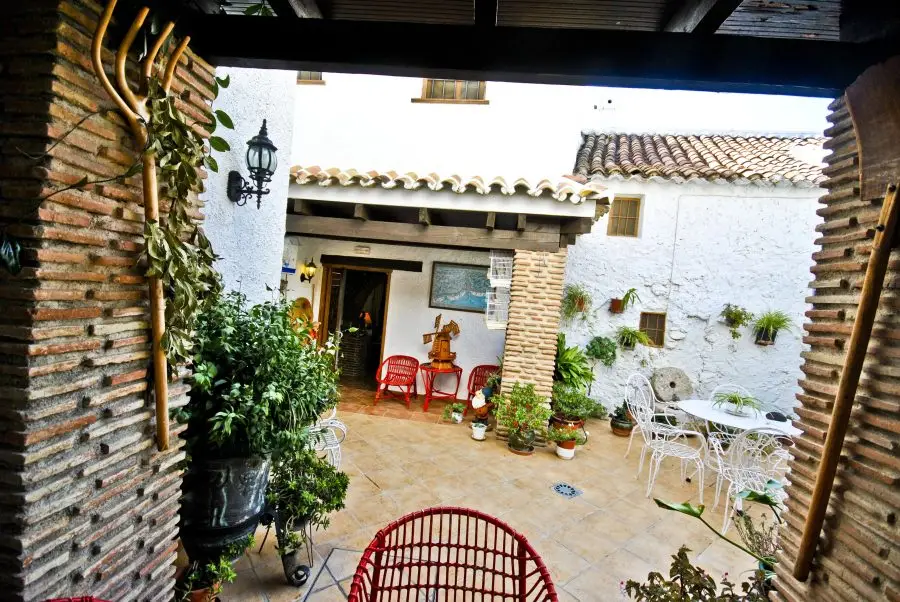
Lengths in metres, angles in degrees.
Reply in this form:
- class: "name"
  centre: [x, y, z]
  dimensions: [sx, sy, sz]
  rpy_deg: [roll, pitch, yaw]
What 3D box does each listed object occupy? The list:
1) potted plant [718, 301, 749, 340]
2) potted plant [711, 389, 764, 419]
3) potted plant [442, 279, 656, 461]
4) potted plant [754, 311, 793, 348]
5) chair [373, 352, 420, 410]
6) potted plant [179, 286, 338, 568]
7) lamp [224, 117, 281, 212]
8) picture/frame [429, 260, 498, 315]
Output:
- class: "potted plant"
  centre: [3.811, 0.255, 7.874]
  dimensions: [0.412, 0.425, 0.310]
  rpy_deg: [-5, -11, -6]
- class: "potted plant"
  centre: [3.092, 1.111, 6.264]
  dimensions: [0.576, 0.214, 0.568]
  rpy_deg: [0, 0, 5]
- class: "potted plant"
  centre: [1.212, 0.714, 7.971]
  dimensions: [2.068, 1.517, 2.274]
  rpy_deg: [5, 4, 45]
- class: "potted plant"
  centre: [4.203, 0.363, 7.563]
  dimensions: [0.464, 0.392, 0.446]
  rpy_deg: [3, -1, -5]
- class: "chair"
  centre: [-0.742, 1.157, 8.400]
  dimensions: [0.707, 0.842, 0.640]
  rpy_deg: [2, 0, 11]
- class: "potted plant"
  centre: [-1.268, 0.863, 3.864]
  dimensions: [1.007, 1.720, 0.664]
  rpy_deg: [1, 8, -30]
- class: "lamp"
  centre: [-1.531, -1.085, 4.554]
  dimensions: [0.306, 0.674, 0.316]
  rpy_deg: [5, 7, -1]
- class: "picture/frame"
  centre: [0.226, -0.199, 8.318]
  dimensions: [0.799, 0.562, 0.034]
  rpy_deg: [4, 2, 11]
